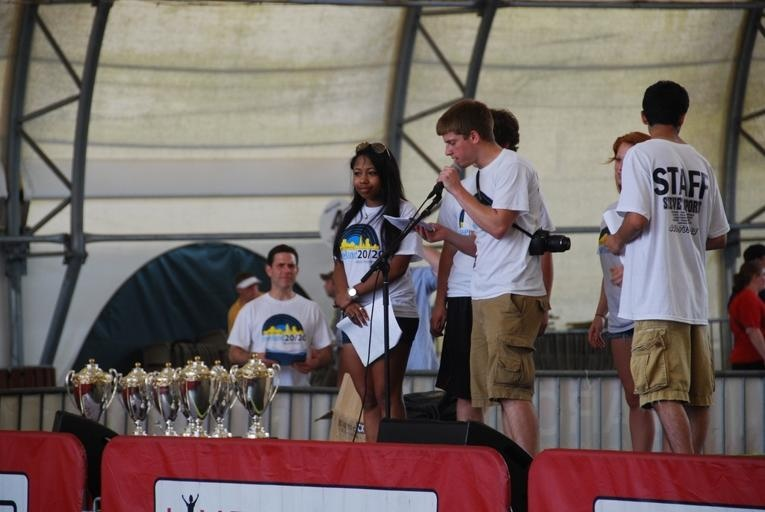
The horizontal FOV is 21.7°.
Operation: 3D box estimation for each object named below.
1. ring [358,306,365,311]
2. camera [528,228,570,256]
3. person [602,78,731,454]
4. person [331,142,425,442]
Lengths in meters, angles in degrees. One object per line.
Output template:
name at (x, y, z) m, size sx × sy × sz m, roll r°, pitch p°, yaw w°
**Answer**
ring at (-0.195, 0.496, 18.716) m, size 0.057 × 0.046 × 0.014 m, roll -2°, pitch -14°, yaw -5°
camera at (1.540, -0.127, 18.374) m, size 0.280 × 0.178 × 0.263 m, roll -1°, pitch 2°, yaw 12°
person at (2.526, 0.110, 18.502) m, size 1.041 × 3.322 × 1.238 m, roll 1°, pitch -3°, yaw -12°
person at (-0.113, 0.548, 18.899) m, size 0.978 × 3.266 × 1.050 m, roll 5°, pitch 10°, yaw 30°
